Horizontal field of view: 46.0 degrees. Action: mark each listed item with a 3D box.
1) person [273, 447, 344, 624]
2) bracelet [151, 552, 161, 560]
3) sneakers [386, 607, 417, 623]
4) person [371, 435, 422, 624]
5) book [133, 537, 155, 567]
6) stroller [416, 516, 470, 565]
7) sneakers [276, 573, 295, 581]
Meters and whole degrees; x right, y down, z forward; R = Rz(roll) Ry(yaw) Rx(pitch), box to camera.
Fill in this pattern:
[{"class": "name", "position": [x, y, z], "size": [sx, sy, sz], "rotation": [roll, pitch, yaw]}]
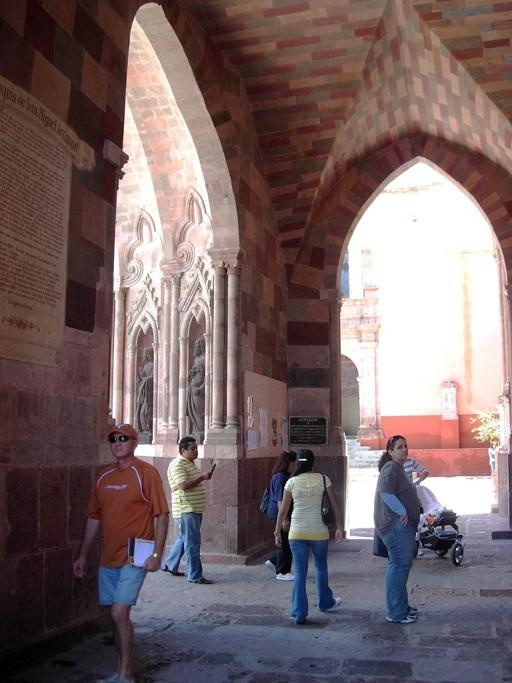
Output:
[{"class": "person", "position": [0.396, 1.428, 4.487], "size": [0.427, 1.239, 0.485], "rotation": [-2, -7, -4]}, {"class": "bracelet", "position": [-0.481, 1.015, 2.870], "size": [0.019, 0.034, 0.039], "rotation": [-9, -10, 43]}, {"class": "sneakers", "position": [1.055, 1.947, 4.289], "size": [0.229, 0.109, 0.085], "rotation": [7, -13, -5]}, {"class": "person", "position": [1.007, 1.346, 4.370], "size": [0.305, 1.288, 0.344], "rotation": [-6, -8, 25]}, {"class": "book", "position": [-0.544, 1.003, 2.873], "size": [0.107, 0.114, 0.036], "rotation": [7, -16, -8]}, {"class": "stroller", "position": [2.262, 2.430, 7.488], "size": [0.566, 0.618, 1.394], "rotation": [-4, -7, 16]}, {"class": "sneakers", "position": [0.298, 2.395, 6.206], "size": [0.164, 0.074, 0.067], "rotation": [1, -7, 16]}]
